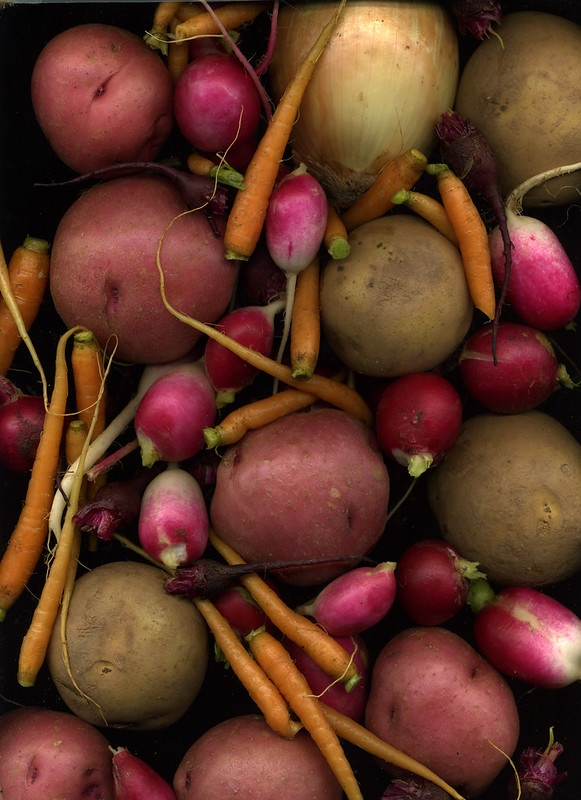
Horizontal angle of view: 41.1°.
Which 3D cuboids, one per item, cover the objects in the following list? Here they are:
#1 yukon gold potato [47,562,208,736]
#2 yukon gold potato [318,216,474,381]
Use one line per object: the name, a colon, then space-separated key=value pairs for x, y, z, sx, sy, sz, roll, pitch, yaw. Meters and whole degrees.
yukon gold potato: x=-0.259 y=0.411 z=1.374 sx=0.283 sy=0.282 sz=0.260 roll=4 pitch=82 yaw=-11
yukon gold potato: x=0.196 y=-0.152 z=1.361 sx=0.286 sy=0.258 sz=0.253 roll=-8 pitch=56 yaw=15
